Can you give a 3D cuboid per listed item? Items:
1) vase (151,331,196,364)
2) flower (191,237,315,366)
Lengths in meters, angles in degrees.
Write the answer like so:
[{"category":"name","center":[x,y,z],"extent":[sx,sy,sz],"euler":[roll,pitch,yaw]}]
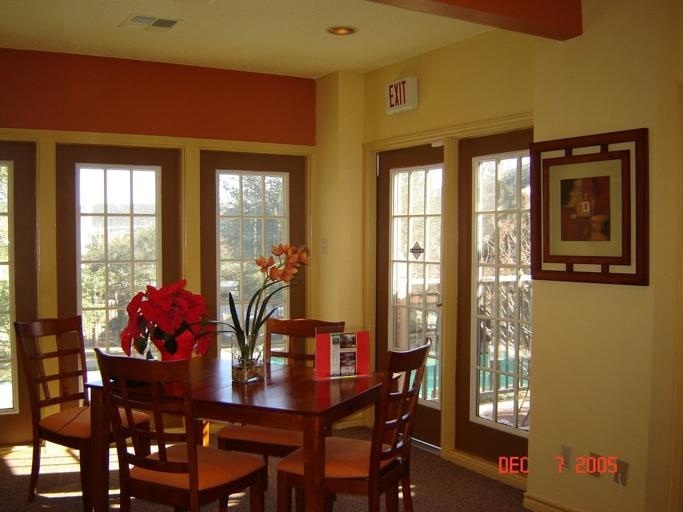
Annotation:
[{"category":"vase","center":[-0.873,0.495,2.996],"extent":[0.215,0.267,0.165],"euler":[1,-2,-8]},{"category":"flower","center":[-0.454,0.321,3.185],"extent":[0.492,0.707,0.477],"euler":[11,0,43]}]
